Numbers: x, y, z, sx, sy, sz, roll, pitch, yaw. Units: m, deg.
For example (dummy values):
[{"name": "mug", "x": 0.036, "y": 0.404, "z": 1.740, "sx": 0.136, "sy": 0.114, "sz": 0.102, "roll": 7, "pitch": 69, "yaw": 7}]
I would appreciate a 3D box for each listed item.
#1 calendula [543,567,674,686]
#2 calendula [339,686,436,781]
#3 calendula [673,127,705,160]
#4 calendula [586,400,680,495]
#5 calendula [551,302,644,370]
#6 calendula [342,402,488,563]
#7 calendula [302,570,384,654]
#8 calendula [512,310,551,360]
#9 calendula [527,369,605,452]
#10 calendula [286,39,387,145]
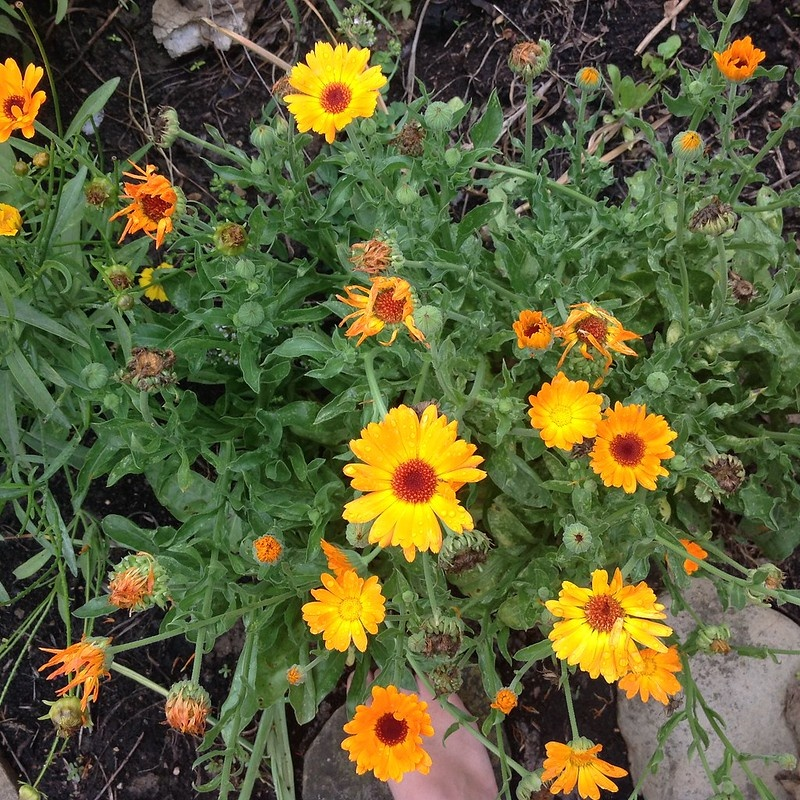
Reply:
[{"name": "calendula", "x": 0.431, "y": 0.444, "z": 1.565, "sx": 0.080, "sy": 0.246, "sz": 0.228, "roll": 44, "pitch": 120, "yaw": -10}, {"name": "calendula", "x": -0.028, "y": 0.748, "z": 1.719, "sx": 0.196, "sy": 0.124, "sz": 0.211, "roll": 6, "pitch": 79, "yaw": -3}, {"name": "calendula", "x": 0.657, "y": -0.592, "z": 1.761, "sx": 0.067, "sy": 0.067, "sz": 0.071, "roll": 6, "pitch": 93, "yaw": 4}, {"name": "calendula", "x": 0.496, "y": 0.101, "z": 1.633, "sx": 0.185, "sy": 0.074, "sz": 0.189, "roll": -39, "pitch": 75, "yaw": 19}, {"name": "calendula", "x": 0.423, "y": -0.145, "z": 1.652, "sx": 0.161, "sy": 0.073, "sz": 0.170, "roll": 0, "pitch": 90, "yaw": 3}, {"name": "calendula", "x": 0.025, "y": 0.160, "z": 1.519, "sx": 0.286, "sy": 0.109, "sz": 0.314, "roll": 4, "pitch": 93, "yaw": 12}, {"name": "calendula", "x": -0.122, "y": 0.457, "z": 1.654, "sx": 0.171, "sy": 0.070, "sz": 0.168, "roll": -5, "pitch": 80, "yaw": -5}, {"name": "calendula", "x": 0.300, "y": -0.160, "z": 1.716, "sx": 0.065, "sy": 0.115, "sz": 0.093, "roll": -19, "pitch": 81, "yaw": -7}, {"name": "calendula", "x": 0.355, "y": 0.024, "z": 1.630, "sx": 0.149, "sy": 0.091, "sz": 0.147, "roll": -34, "pitch": 83, "yaw": -9}, {"name": "calendula", "x": -0.143, "y": -0.690, "z": 1.820, "sx": 0.253, "sy": 0.100, "sz": 0.263, "roll": -14, "pitch": 76, "yaw": 11}]
